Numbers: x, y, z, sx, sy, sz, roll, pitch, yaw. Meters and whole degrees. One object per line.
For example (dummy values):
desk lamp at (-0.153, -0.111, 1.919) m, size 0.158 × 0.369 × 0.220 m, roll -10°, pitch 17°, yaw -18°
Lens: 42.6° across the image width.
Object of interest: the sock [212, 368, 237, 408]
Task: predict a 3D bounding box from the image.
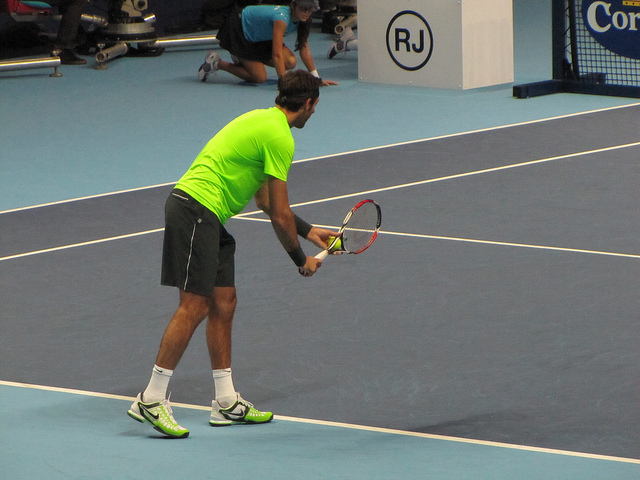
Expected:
sock at (-0.459, 0.706, 3.948) m, size 0.109 × 0.189 × 0.072 m, roll 0°, pitch 6°, yaw -12°

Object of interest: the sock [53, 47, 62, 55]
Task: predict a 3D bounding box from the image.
sock at (-4.311, -3.081, 13.408) m, size 0.128 × 0.091 × 0.049 m, roll -5°, pitch 37°, yaw 8°

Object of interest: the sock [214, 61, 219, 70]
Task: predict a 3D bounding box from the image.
sock at (-1.591, -2.675, 12.535) m, size 0.062 × 0.106 × 0.088 m, roll -1°, pitch 6°, yaw -20°

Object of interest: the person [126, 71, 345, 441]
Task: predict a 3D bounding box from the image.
person at (-0.433, 0.028, 4.038) m, size 0.923 × 1.704 × 0.750 m, roll 1°, pitch 6°, yaw 1°

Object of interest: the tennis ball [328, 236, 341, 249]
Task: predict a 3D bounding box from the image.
tennis ball at (0.077, 0.012, 4.385) m, size 0.059 × 0.067 × 0.081 m, roll 0°, pitch 6°, yaw -12°
